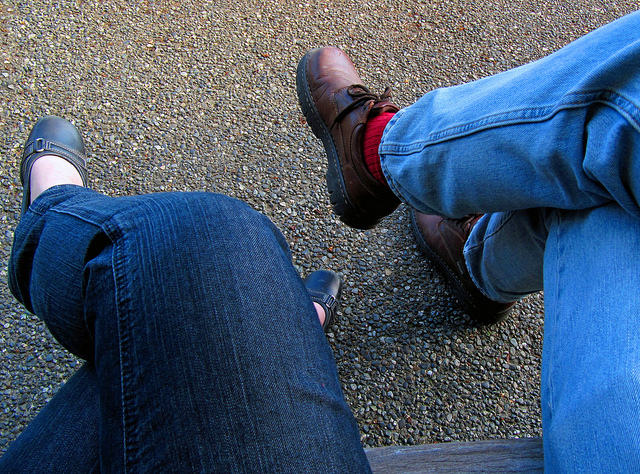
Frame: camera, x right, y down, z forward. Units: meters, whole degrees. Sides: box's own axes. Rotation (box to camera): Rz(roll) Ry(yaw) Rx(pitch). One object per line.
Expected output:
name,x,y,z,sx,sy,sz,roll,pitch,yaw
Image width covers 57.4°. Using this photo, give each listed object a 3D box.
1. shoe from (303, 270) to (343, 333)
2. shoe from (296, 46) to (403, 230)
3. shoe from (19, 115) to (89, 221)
shoe,0.005,0.187,1.690,0.092,0.063,0.176,21,85,15
shoe,0.075,-0.333,1.735,0.231,0.266,0.651,12,58,-37
shoe,-0.785,-0.272,1.749,0.146,0.126,0.428,6,80,-8
